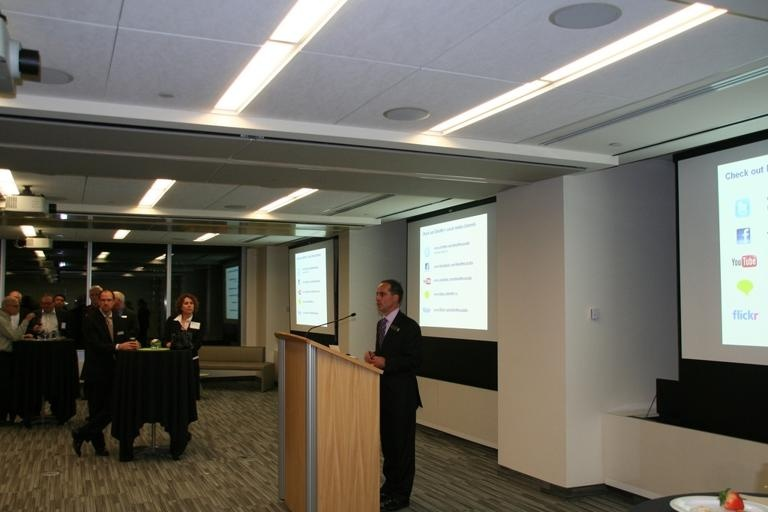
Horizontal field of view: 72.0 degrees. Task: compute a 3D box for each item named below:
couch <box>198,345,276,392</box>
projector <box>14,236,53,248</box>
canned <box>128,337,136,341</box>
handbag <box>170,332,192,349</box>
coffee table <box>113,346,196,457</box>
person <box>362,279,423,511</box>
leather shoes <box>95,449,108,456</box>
[{"bbox_3d":[-3.574,2.701,12.838,1.760,0.979,2.289,2,-4,-18],"label":"couch"},{"bbox_3d":[-7.873,-0.284,11.767,0.825,0.296,0.446,-1,-3,9],"label":"projector"},{"bbox_3d":[-3.547,1.171,7.420,0.088,0.060,0.048,-1,-14,-7],"label":"canned"},{"bbox_3d":[-2.713,1.124,6.986,0.233,0.219,0.235,-9,-11,37],"label":"handbag"},{"bbox_3d":[-2.995,1.957,7.280,1.337,1.706,1.277,3,-10,-24],"label":"coffee table"},{"bbox_3d":[0.107,1.425,5.397,0.529,2.348,0.577,0,-3,3],"label":"person"},{"bbox_3d":[-3.769,2.620,7.063,0.160,0.099,0.125,2,-4,-24],"label":"leather shoes"}]
